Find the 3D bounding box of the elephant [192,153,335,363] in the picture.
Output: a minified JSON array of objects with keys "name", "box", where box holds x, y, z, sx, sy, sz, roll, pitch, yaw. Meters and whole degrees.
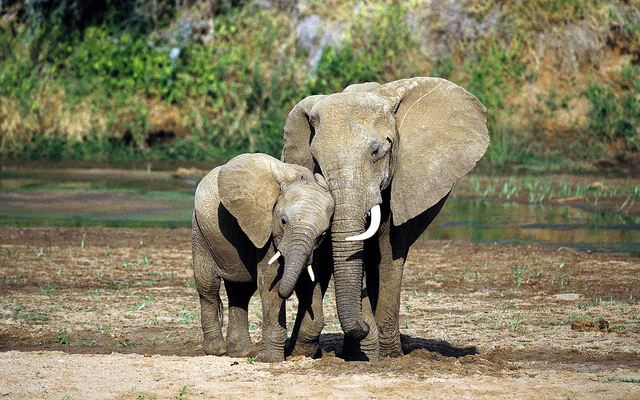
[{"name":"elephant","box":[-0.952,1.018,21.285,1.872,3.537,3.840,0,-3,-33]}]
